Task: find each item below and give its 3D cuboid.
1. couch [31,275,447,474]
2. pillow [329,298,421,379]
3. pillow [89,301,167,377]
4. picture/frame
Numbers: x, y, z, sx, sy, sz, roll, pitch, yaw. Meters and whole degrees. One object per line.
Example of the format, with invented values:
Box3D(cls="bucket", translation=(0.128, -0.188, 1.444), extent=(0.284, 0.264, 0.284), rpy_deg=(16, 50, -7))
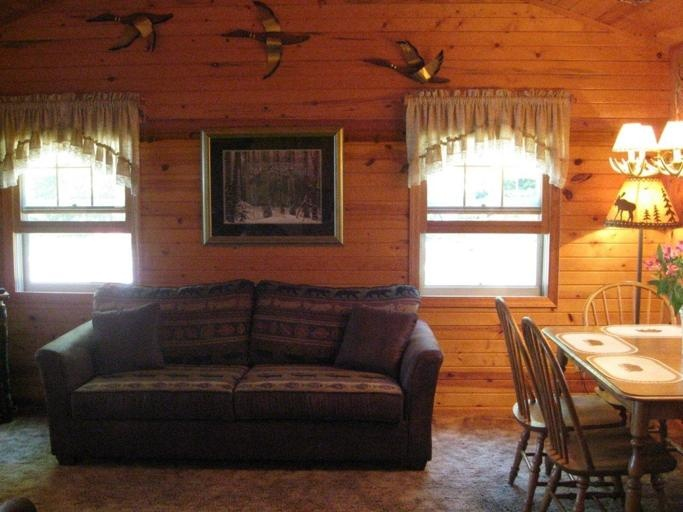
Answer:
Box3D(cls="couch", translation=(-0.648, 0.759, 4.833), extent=(2.834, 0.825, 1.059), rpy_deg=(0, 22, 8))
Box3D(cls="pillow", translation=(0.225, 0.599, 4.695), extent=(0.620, 0.441, 0.166), rpy_deg=(9, -11, 28))
Box3D(cls="pillow", translation=(-1.531, 0.622, 4.724), extent=(0.610, 0.442, 0.181), rpy_deg=(-7, -22, -10))
Box3D(cls="picture/frame", translation=(-0.521, -0.599, 5.282), extent=(1.404, 0.760, 0.056), rpy_deg=(0, 3, 0))
